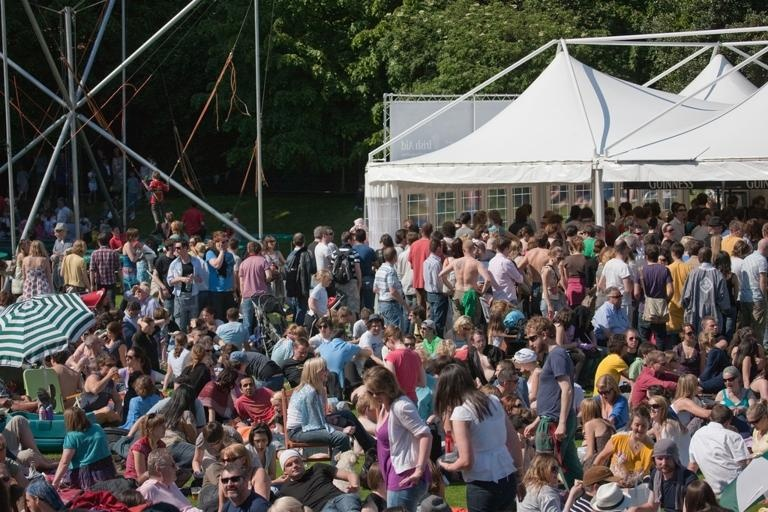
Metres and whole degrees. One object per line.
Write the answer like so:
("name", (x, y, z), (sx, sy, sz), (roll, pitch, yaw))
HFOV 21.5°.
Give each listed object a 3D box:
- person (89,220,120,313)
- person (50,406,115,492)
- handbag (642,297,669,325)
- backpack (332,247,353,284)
("person", (-6.978, 0.350, 50.369), (0.801, 1.765, 0.527), (-3, 4, -21))
("person", (-6.540, 4.265, 43.777), (1.297, 1.807, 0.426), (-3, 3, -11))
("handbag", (6.439, 1.341, 47.880), (0.543, 0.583, 0.272), (2, 13, 9))
("backpack", (-1.026, 0.294, 49.389), (0.504, 0.895, 0.269), (-2, 3, -2))
